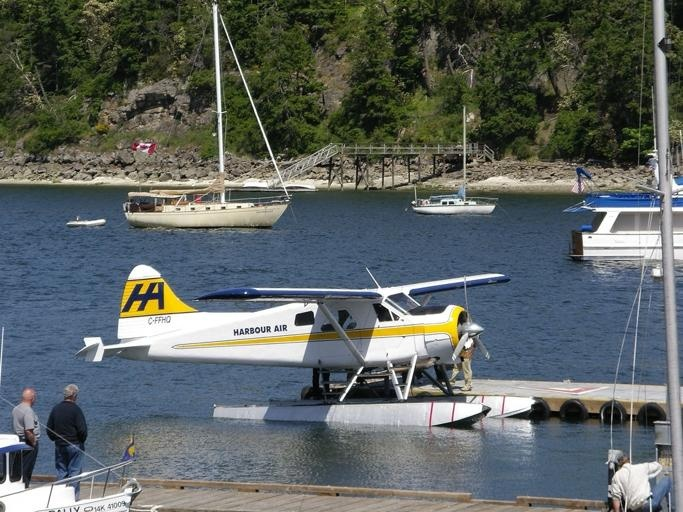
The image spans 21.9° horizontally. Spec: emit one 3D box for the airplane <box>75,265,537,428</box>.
[{"bbox_3d":[-2.197,5.170,103.565,26.008,10.050,5.514,-4,9,-3],"label":"airplane"}]

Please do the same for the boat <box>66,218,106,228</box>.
[{"bbox_3d":[-21.753,-2.723,151.630,3.373,0.520,3.061,-5,8,-10],"label":"boat"}]
